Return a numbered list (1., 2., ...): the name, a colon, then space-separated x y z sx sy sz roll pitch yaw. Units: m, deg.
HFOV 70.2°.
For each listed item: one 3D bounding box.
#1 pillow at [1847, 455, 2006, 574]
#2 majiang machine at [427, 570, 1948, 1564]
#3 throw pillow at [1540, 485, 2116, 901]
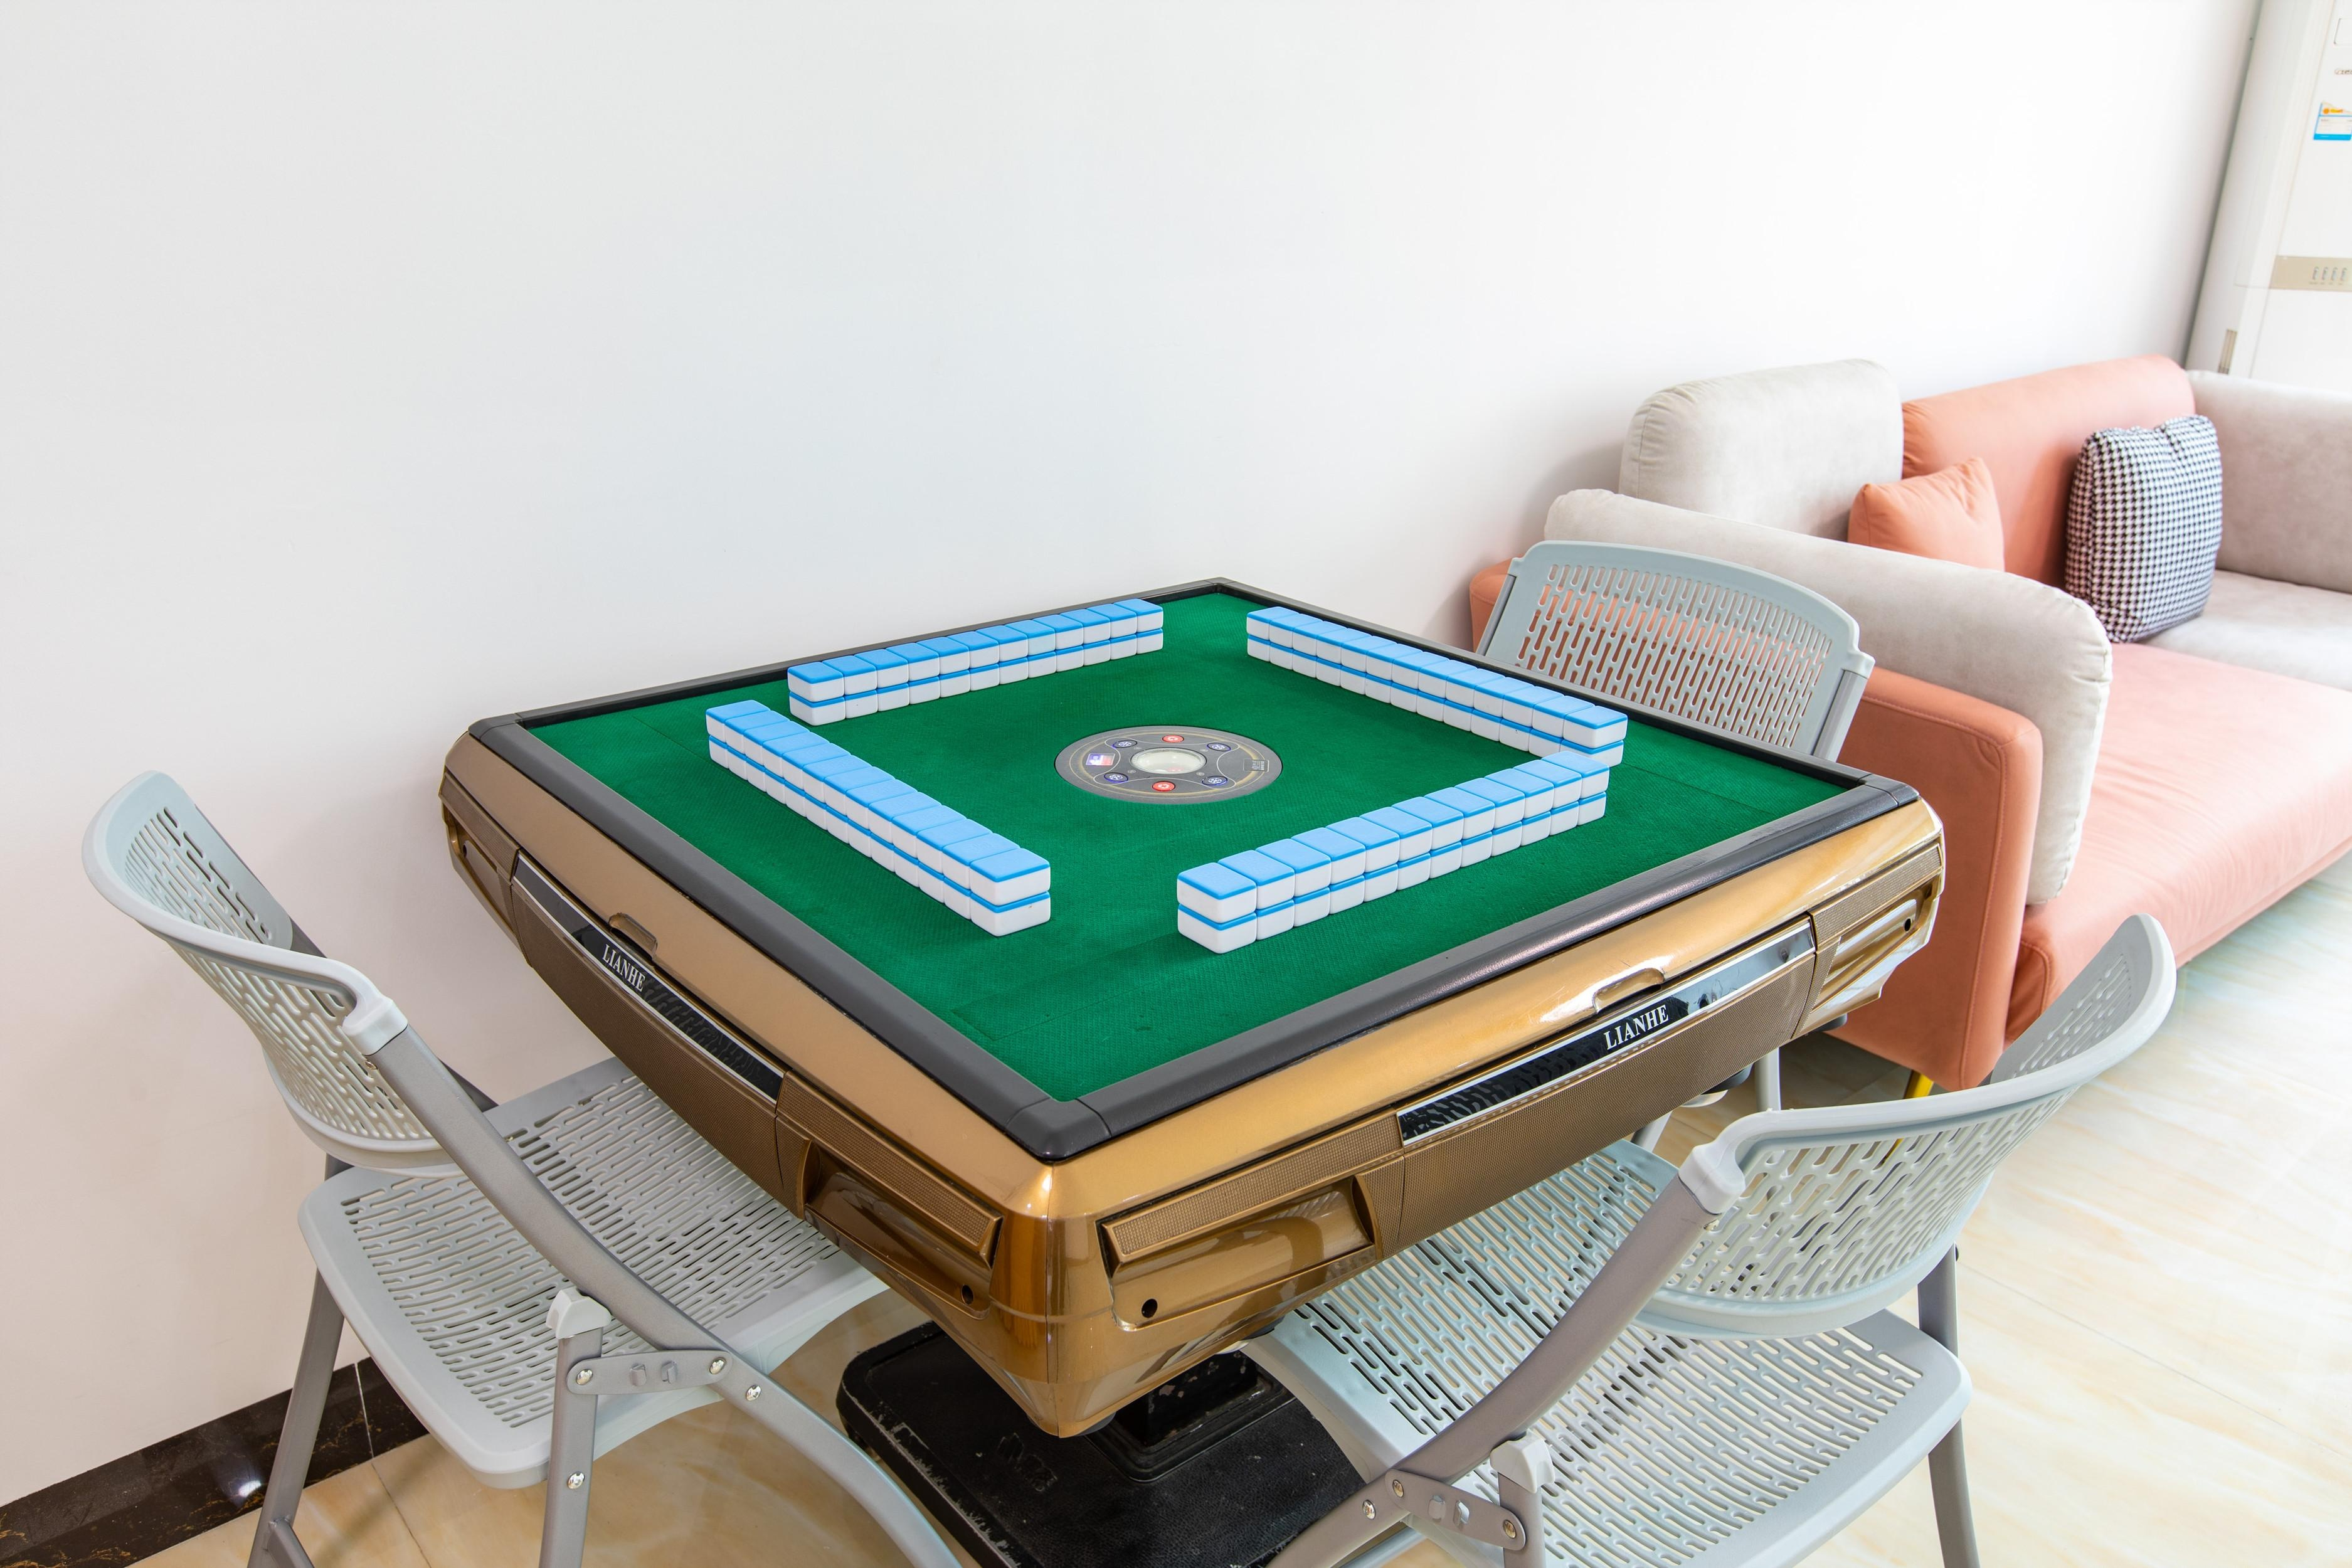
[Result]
1. pillow: 1.572 -0.494 3.400 0.463 0.297 0.161 -16 10 -35
2. majiang machine: -0.185 0.155 1.944 1.288 0.285 1.246 -18 32 -35
3. throw pillow: 1.174 -0.230 3.069 1.035 0.691 0.848 -21 35 -39
